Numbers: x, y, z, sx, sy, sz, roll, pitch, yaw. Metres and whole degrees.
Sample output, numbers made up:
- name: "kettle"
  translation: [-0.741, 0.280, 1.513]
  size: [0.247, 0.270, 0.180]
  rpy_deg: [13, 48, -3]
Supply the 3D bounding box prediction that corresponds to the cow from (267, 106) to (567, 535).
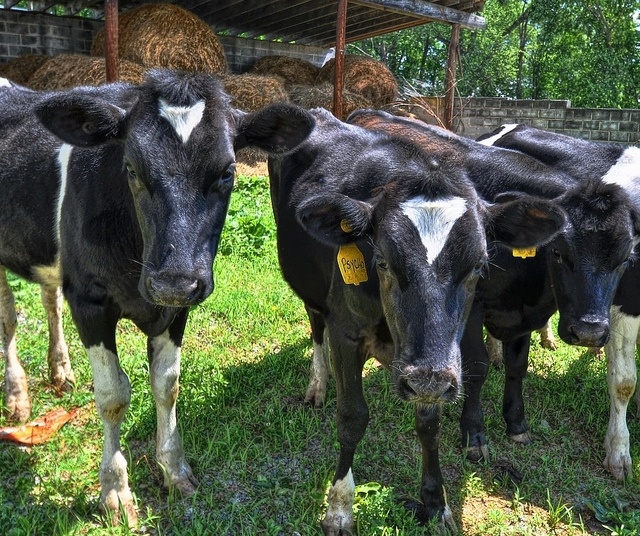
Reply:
- name: "cow"
  translation: [0.209, 0.229, 4.932]
  size: [1.356, 2.581, 2.706]
  rpy_deg: [-6, 15, -26]
